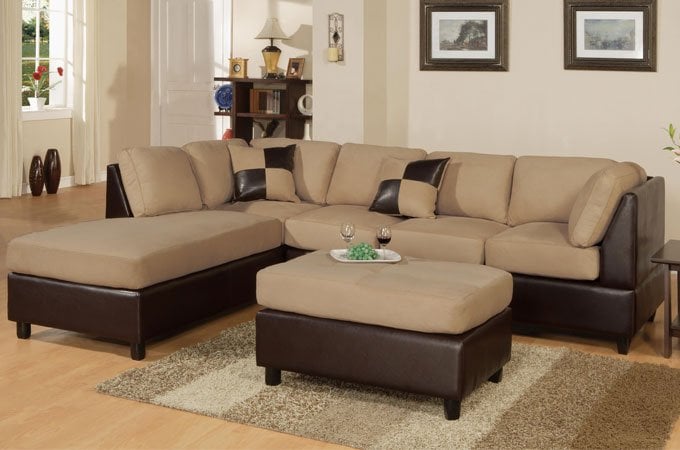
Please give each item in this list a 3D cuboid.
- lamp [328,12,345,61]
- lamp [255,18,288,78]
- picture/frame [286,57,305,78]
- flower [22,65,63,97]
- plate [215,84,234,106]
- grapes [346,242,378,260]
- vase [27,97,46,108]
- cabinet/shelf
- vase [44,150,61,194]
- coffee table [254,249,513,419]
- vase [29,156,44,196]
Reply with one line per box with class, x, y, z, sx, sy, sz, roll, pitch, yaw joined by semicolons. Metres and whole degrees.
lamp;-0.035;-1.940;6.086;0.161;0.489;0.209;0;14;-3
lamp;-0.926;-2.431;8.008;0.407;0.807;0.511;-1;13;-5
picture/frame;-0.593;-2.113;7.898;0.252;0.295;0.431;0;13;-2
flower;-4.506;-2.143;8.886;0.519;0.503;0.531;17;21;39
plate;-1.627;-1.797;8.228;0.298;0.285;0.078;-5;5;22
grapes;0.138;0.141;3.579;0.127;0.048;0.124;3;11;10
vase;-4.537;-1.803;8.743;0.196;0.156;0.220;0;2;-2
cabinet/shelf;-0.982;-1.529;7.741;1.462;1.264;0.433;2;6;22
vase;-4.290;-0.790;8.682;0.227;0.651;0.276;-4;14;-16
coffee table;0.190;0.555;3.192;1.260;0.591;0.838;3;6;25
vase;-4.418;-0.714;8.509;0.222;0.569;0.304;-7;15;-27
